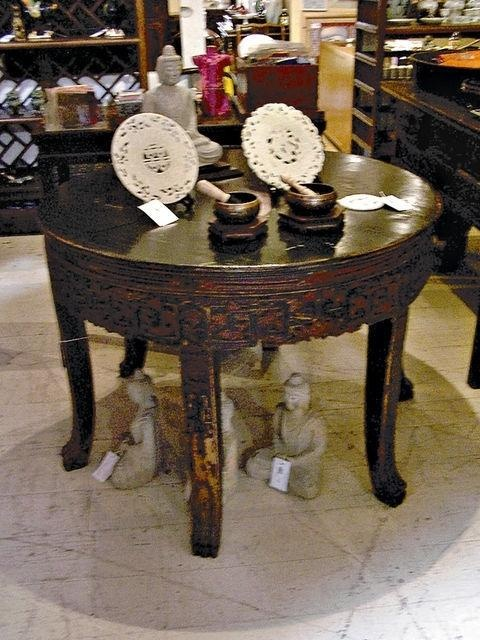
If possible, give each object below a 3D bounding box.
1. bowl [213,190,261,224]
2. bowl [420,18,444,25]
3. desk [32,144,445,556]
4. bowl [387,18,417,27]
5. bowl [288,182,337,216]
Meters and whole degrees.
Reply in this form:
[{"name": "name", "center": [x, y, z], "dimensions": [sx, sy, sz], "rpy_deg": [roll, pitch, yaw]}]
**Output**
[{"name": "bowl", "center": [-0.012, -0.233, 1.280], "dimensions": [0.096, 0.051, 0.090], "rpy_deg": [0, 30, 0]}, {"name": "bowl", "center": [1.087, -1.698, 3.380], "dimensions": [0.135, 0.037, 0.045], "rpy_deg": [-4, 30, -11]}, {"name": "desk", "center": [-0.102, 0.106, 1.570], "dimensions": [1.064, 0.693, 0.951], "rpy_deg": [7, 35, 11]}, {"name": "bowl", "center": [0.922, -1.679, 3.353], "dimensions": [0.175, 0.040, 0.057], "rpy_deg": [-9, 31, -19]}, {"name": "bowl", "center": [0.154, -0.256, 1.323], "dimensions": [0.108, 0.055, 0.102], "rpy_deg": [0, 35, 0]}]
